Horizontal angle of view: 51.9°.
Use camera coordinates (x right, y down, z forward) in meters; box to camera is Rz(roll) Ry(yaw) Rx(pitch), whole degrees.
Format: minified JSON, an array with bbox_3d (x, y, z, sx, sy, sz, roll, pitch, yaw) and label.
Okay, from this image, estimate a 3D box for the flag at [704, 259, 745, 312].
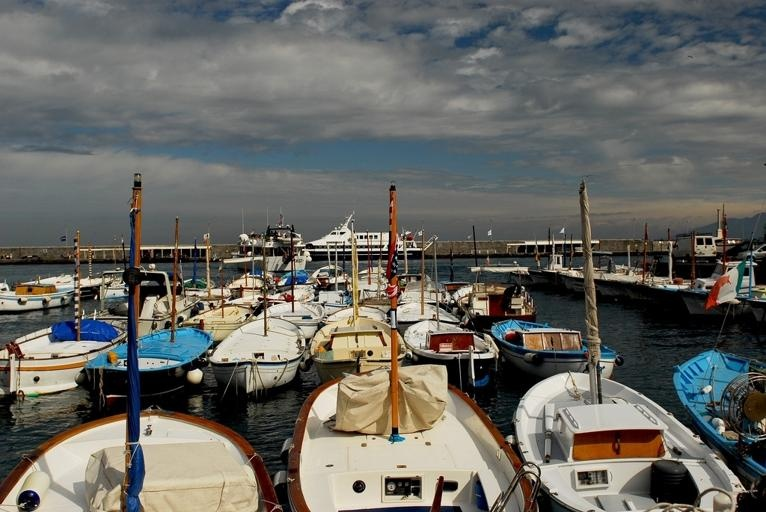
[{"bbox_3d":[15.557,1.275,35.744,1.222,0.205,3.008,-4,37,45],"label":"flag"}]
